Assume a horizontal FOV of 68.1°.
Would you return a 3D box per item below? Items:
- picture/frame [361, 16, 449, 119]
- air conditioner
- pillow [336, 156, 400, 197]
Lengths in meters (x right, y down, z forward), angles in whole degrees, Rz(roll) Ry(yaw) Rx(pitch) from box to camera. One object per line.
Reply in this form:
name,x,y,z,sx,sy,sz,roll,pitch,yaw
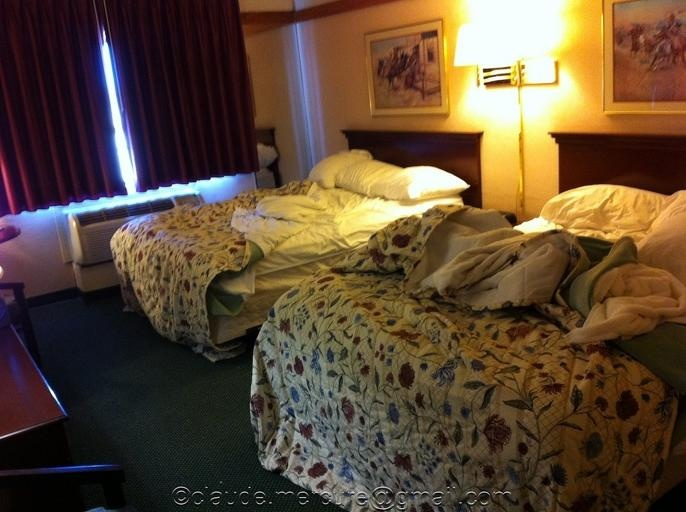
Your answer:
picture/frame,0.543,-1.640,4.310,0.039,0.775,0.930,-21,22,-39
air conditioner,-1.973,-0.160,4.864,1.139,0.731,0.358,-17,22,-37
pillow,0.193,-0.726,4.361,0.392,0.102,0.402,-28,33,-29
